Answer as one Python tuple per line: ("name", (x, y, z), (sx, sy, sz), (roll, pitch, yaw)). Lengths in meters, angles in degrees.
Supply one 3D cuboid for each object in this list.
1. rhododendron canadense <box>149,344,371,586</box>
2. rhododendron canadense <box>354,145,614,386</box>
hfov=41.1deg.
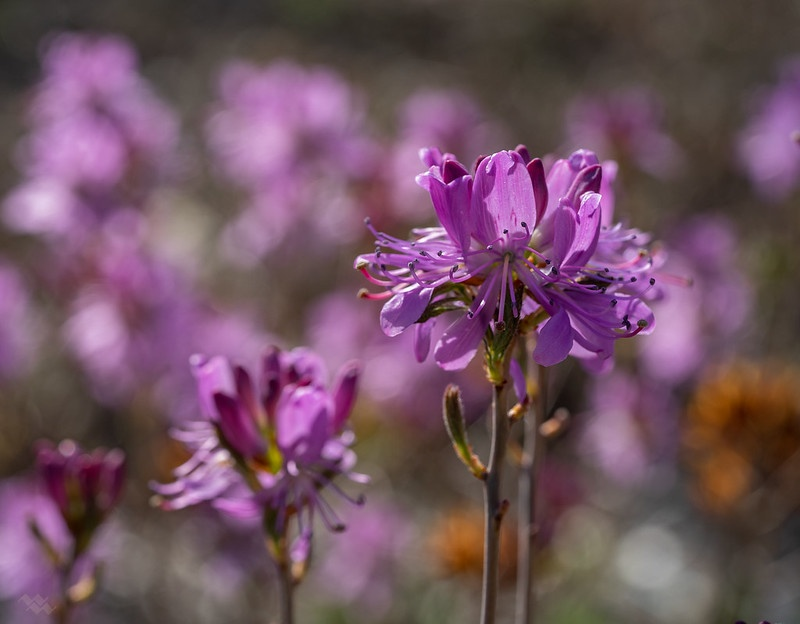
("rhododendron canadense", (-0.244, 0.257, 2.074), (0.258, 0.663, 0.227), (-4, -2, -19))
("rhododendron canadense", (0.167, -0.110, 2.035), (0.498, 0.327, 0.351), (2, 37, -4))
